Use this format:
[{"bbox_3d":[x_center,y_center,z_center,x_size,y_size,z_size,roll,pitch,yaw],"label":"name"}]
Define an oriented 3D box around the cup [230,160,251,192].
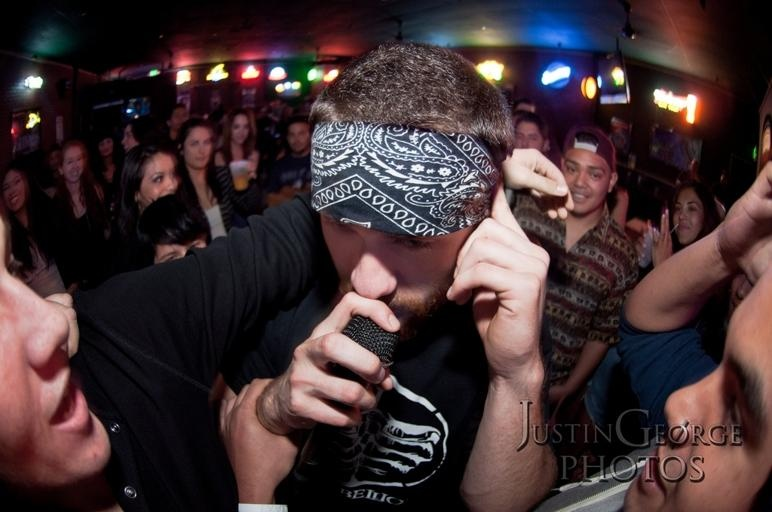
[{"bbox_3d":[-0.539,-0.306,2.019,0.102,0.105,0.097,0,-3,0],"label":"cup"}]
